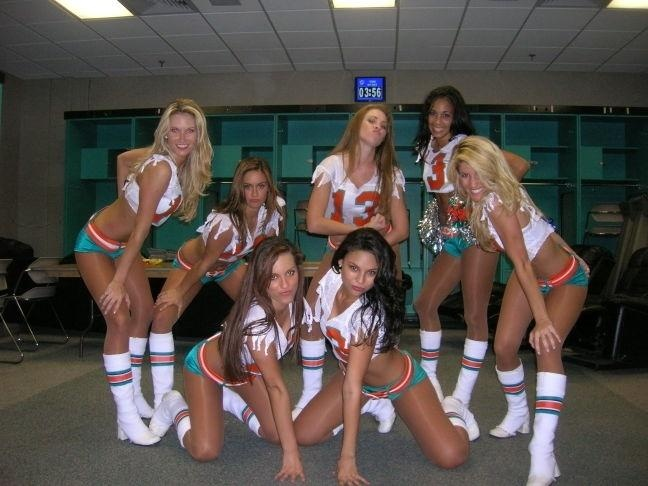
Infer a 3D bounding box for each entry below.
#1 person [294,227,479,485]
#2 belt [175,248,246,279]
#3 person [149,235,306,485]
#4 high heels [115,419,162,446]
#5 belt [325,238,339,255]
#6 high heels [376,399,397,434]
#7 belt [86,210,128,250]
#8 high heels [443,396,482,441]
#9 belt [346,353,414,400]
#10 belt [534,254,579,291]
[{"bbox_3d":[0.285,0.496,3.107,1.127,1.293,1.260,4,5,38],"label":"person"},{"bbox_3d":[-0.782,0.185,3.474,0.229,0.104,0.385,19,-27,-30],"label":"belt"},{"bbox_3d":[-0.467,0.595,2.767,0.945,1.268,0.443,1,3,25],"label":"person"},{"bbox_3d":[-1.100,1.116,2.896,0.241,0.102,0.131,2,1,9],"label":"high heels"},{"bbox_3d":[0.050,0.020,3.030,0.071,0.074,0.087,5,-31,-2],"label":"belt"},{"bbox_3d":[0.384,1.084,3.109,0.119,0.280,0.092,7,-6,-39],"label":"high heels"},{"bbox_3d":[-1.300,-0.067,2.919,0.225,0.233,0.059,21,-61,-45],"label":"belt"},{"bbox_3d":[0.835,1.054,2.862,0.126,0.294,0.173,-39,-1,-31],"label":"high heels"},{"bbox_3d":[0.328,0.712,2.742,0.260,0.074,0.277,-40,-36,14],"label":"belt"},{"bbox_3d":[1.309,0.134,2.731,0.178,0.056,0.184,-34,-12,-16],"label":"belt"}]
